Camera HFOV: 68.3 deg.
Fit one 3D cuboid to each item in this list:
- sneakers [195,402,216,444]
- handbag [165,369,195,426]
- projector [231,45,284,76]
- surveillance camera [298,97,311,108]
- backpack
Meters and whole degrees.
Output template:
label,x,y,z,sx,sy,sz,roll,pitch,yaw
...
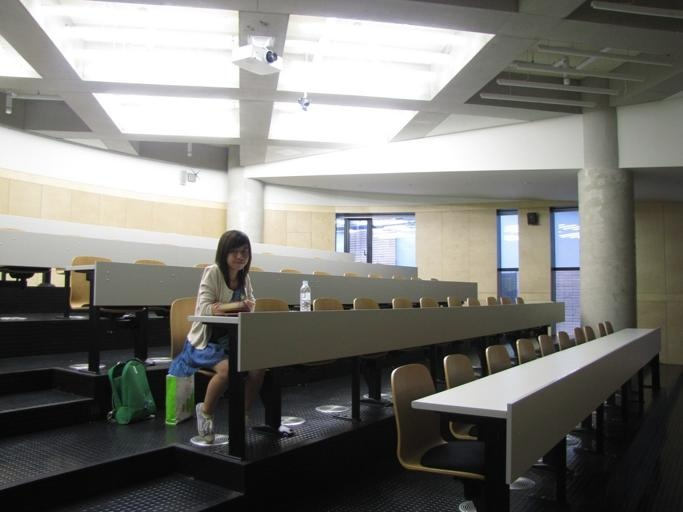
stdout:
label,x,y,z,sx,sy,sz,roll,pitch,yaw
sneakers,-0.938,1.155,3.512,0.104,0.289,0.120,1,-19,-42
handbag,-1.254,1.089,3.890,0.119,0.339,0.351,-1,-9,2
projector,-1.019,-2.358,6.039,0.587,0.228,0.318,0,-1,-16
surveillance camera,-0.560,-2.222,7.335,0.173,0.196,0.139,11,18,35
backpack,-1.618,1.032,3.864,0.290,0.441,0.341,-7,-6,15
